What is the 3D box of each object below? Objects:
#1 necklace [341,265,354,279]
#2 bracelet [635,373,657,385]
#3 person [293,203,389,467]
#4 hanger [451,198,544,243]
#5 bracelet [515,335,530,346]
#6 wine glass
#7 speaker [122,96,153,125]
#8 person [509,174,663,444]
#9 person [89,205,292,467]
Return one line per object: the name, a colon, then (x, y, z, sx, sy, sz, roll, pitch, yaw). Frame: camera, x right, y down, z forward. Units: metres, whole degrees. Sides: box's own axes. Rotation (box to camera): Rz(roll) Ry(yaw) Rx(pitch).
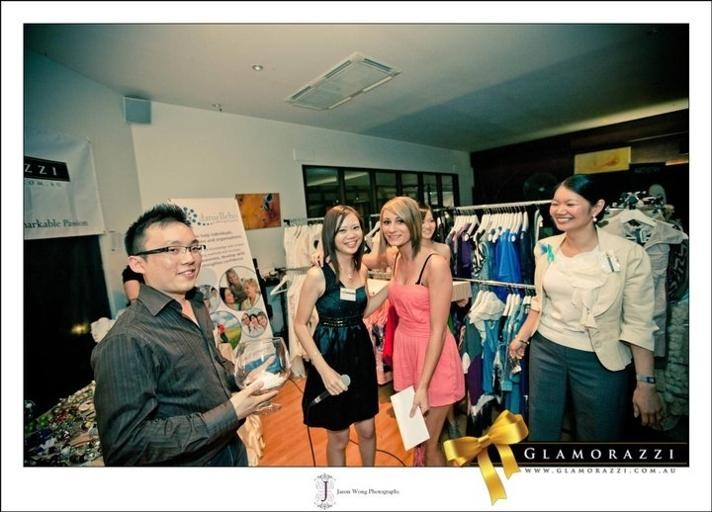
necklace: (-0.042, 0.095, 2.571, 0.062, 0.061, 0.014, 2, -6, -35)
bracelet: (1.486, 0.633, 2.369, 0.081, 0.048, 0.051, 2, 8, 38)
person: (-0.084, 0.483, 2.626, 0.520, 1.519, 0.298, -5, 7, -18)
hanger: (1.141, -0.269, 3.735, 0.582, 0.335, 0.103, 2, 12, 30)
bracelet: (0.986, 0.503, 2.730, 0.066, 0.026, 0.052, 4, -2, -45)
wine glass: (-0.467, 0.605, 2.265, 0.279, 0.405, 0.285, -1, 0, 16)
speaker: (-1.719, -1.129, 3.595, 0.170, 0.230, 0.239, 11, 12, 32)
person: (1.235, 0.321, 2.512, 0.725, 1.501, 0.198, 1, 7, 31)
person: (-0.846, 0.425, 2.176, 0.724, 1.323, 0.463, -6, 7, -24)
